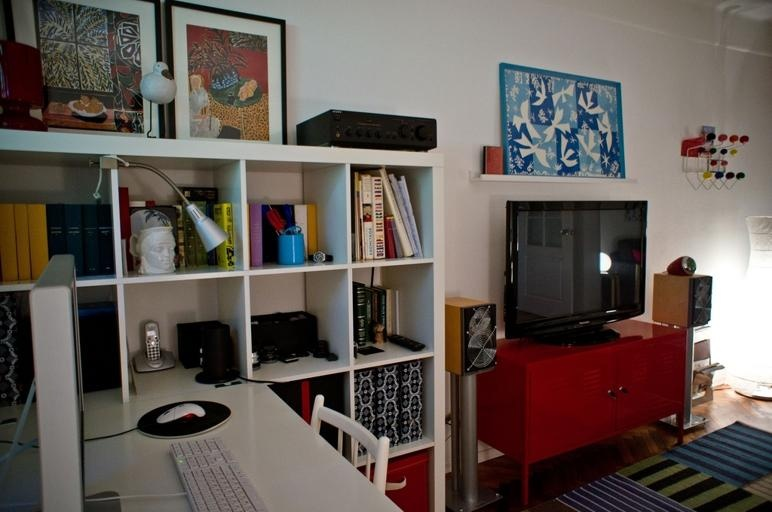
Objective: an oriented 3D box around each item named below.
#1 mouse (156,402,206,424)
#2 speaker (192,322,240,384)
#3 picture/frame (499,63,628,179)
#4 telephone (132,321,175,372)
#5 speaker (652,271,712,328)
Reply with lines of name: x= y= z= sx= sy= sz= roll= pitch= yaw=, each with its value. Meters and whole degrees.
mouse: x=-0.877 y=0.648 z=2.393 sx=0.141 sy=0.036 sz=0.086 roll=0 pitch=1 yaw=-24
speaker: x=-0.830 y=0.470 z=2.849 sx=0.252 sy=0.275 sz=0.243 roll=-2 pitch=1 yaw=-27
picture/frame: x=1.257 y=-0.900 z=4.008 sx=1.095 sy=0.745 sz=0.029 roll=-3 pitch=2 yaw=-25
telephone: x=-1.189 y=0.437 z=2.923 sx=0.232 sy=0.279 sz=0.235 roll=-4 pitch=6 yaw=-36
speaker: x=2.175 y=0.327 z=4.190 sx=0.392 sy=0.394 sz=0.274 roll=7 pitch=16 yaw=27
